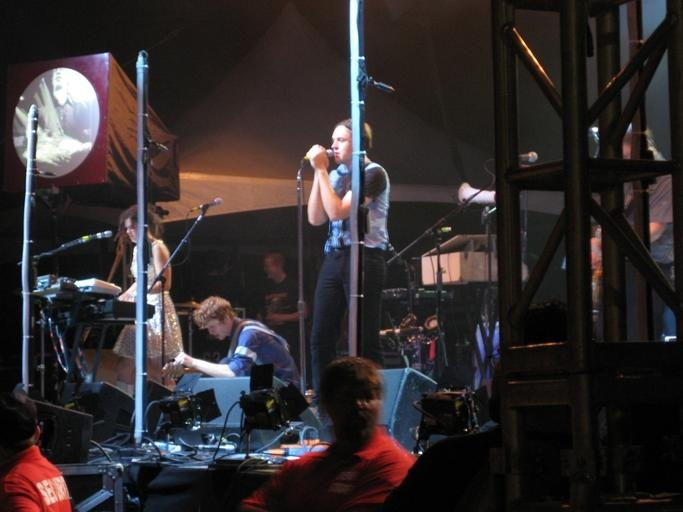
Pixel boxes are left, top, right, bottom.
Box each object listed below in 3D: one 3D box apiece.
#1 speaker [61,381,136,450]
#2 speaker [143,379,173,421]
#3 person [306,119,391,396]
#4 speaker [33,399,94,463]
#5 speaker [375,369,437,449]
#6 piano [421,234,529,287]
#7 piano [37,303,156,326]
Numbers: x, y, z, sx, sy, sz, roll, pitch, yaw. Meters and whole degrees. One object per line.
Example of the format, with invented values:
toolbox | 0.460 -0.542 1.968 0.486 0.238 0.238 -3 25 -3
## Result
speaker | -1.893 1.233 7.878 0.649 0.705 0.368 -1 1 -43
speaker | -1.478 1.130 7.804 0.259 0.327 0.253 4 -4 9
person | 0.049 -0.056 7.259 0.611 2.048 0.966 0 -11 0
speaker | -1.908 1.150 6.858 0.476 0.483 0.347 3 16 -1
speaker | 0.389 1.051 7.245 0.398 0.576 0.567 10 6 36
piano | 1.135 0.051 10.095 0.655 0.470 0.599 0 1 -40
piano | -2.035 0.448 7.881 0.812 0.191 0.266 -4 -12 16
